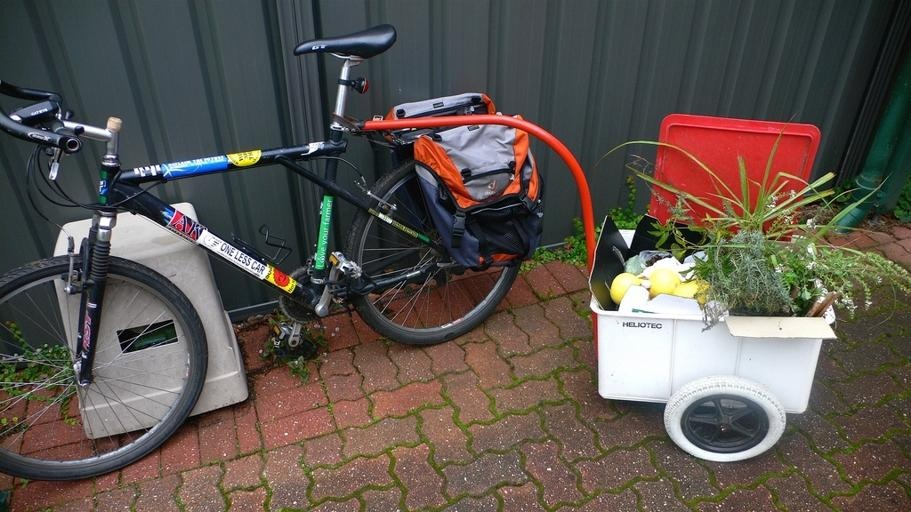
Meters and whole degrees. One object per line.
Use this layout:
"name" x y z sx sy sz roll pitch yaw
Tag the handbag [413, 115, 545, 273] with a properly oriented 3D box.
"handbag" 0.125 -0.432 3.899 0.752 0.857 0.497 -24 35 -13
